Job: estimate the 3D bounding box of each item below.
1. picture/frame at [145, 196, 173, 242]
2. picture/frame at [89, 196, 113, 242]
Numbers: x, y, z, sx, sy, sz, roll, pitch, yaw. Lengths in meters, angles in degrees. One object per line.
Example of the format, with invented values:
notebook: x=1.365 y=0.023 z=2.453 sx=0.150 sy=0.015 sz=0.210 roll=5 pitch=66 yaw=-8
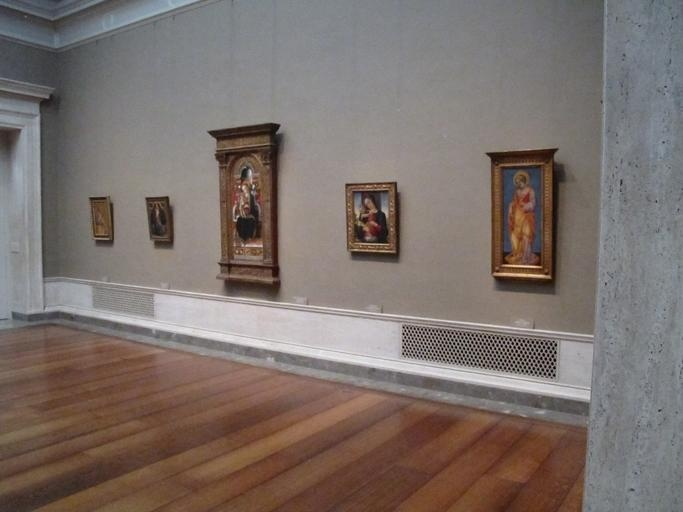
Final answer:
picture/frame: x=-3.119 y=-0.652 z=8.470 sx=0.700 sy=0.911 sz=0.193 roll=-2 pitch=2 yaw=41
picture/frame: x=-4.575 y=-0.729 z=9.421 sx=0.760 sy=1.101 sz=0.146 roll=1 pitch=2 yaw=30
